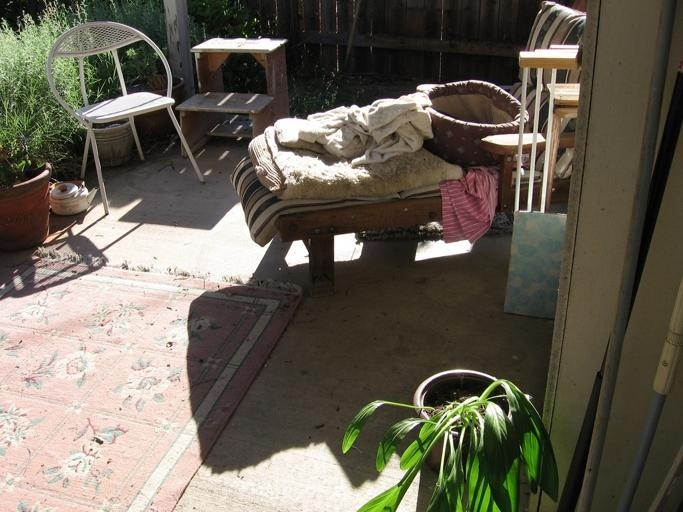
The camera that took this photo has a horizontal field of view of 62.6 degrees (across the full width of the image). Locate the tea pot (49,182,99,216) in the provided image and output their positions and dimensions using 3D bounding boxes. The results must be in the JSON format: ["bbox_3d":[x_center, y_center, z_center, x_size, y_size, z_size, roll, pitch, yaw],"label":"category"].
[{"bbox_3d":[-1.931,-0.411,4.063,0.322,0.130,0.182,-8,39,-11],"label":"tea pot"}]

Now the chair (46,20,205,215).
[{"bbox_3d":[-1.724,-1.118,4.303,0.814,1.231,1.147,-13,30,-21],"label":"chair"}]
